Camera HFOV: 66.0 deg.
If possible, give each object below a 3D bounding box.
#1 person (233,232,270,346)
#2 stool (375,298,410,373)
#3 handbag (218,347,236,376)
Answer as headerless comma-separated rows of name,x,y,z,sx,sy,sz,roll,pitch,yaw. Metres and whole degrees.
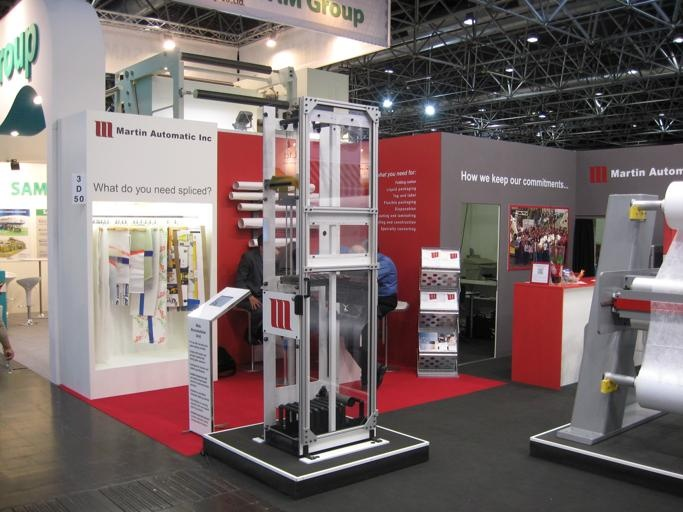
person,-1.179,0.443,6.705,0.310,1.385,0.566,0,3,-14
stool,0.627,1.093,7.185,0.716,0.810,0.778,0,-1,6
handbag,-1.449,1.346,6.642,0.266,0.260,0.265,1,-1,-41
